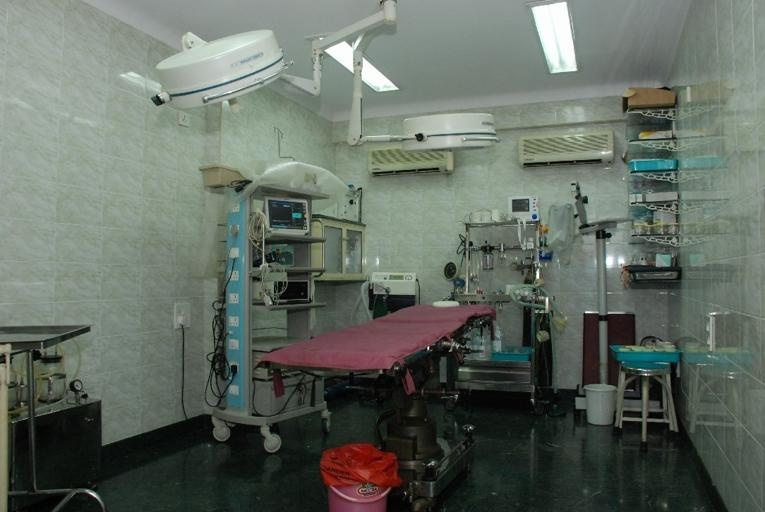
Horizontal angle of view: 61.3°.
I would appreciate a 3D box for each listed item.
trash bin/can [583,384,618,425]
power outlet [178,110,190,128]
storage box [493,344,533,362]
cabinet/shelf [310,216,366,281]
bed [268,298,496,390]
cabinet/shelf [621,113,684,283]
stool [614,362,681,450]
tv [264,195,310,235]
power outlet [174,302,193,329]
[{"bbox_3d":[2.373,1.630,7.071,0.446,0.372,0.377,-1,-6,13],"label":"trash bin/can"},{"bbox_3d":[-2.100,-1.457,6.877,0.021,0.157,0.159,1,-2,28],"label":"power outlet"},{"bbox_3d":[1.541,1.163,7.698,0.476,0.162,0.338,1,-2,10],"label":"storage box"},{"bbox_3d":[-0.656,-0.053,8.378,0.432,0.853,1.139,-2,-2,27],"label":"cabinet/shelf"},{"bbox_3d":[0.004,0.779,5.522,1.118,0.597,1.748,0,-2,28],"label":"bed"},{"bbox_3d":[2.971,-0.638,7.087,0.555,1.855,1.386,1,-2,20],"label":"cabinet/shelf"},{"bbox_3d":[2.806,1.486,6.832,0.606,0.796,1.159,1,-2,24],"label":"stool"},{"bbox_3d":[-0.979,-0.405,6.544,0.480,0.299,0.062,1,-10,-43],"label":"tv"},{"bbox_3d":[-2.098,0.619,6.794,0.043,0.265,0.205,1,-2,27],"label":"power outlet"}]
